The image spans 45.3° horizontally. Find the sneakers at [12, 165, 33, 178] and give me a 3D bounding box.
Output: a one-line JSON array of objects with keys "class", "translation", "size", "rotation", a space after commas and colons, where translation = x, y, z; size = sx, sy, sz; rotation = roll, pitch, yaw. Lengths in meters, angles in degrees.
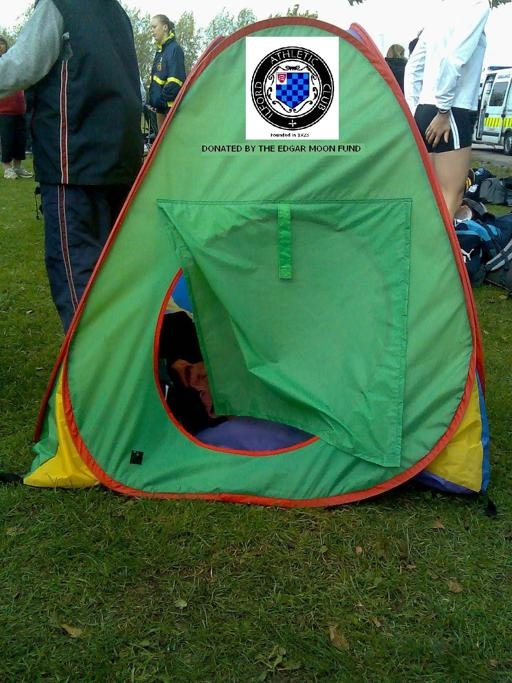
[{"class": "sneakers", "translation": [-3.337, -2.409, 8.749], "size": [0.291, 0.116, 0.124], "rotation": [6, 45, -39]}]

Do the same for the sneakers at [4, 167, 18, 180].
[{"class": "sneakers", "translation": [-3.429, -2.340, 8.526], "size": [0.118, 0.102, 0.221], "rotation": [-22, 45, -30]}]

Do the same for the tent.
[{"class": "tent", "translation": [0.101, -0.383, 2.796], "size": [1.867, 1.531, 1.775], "rotation": [4, 20, 2]}]
